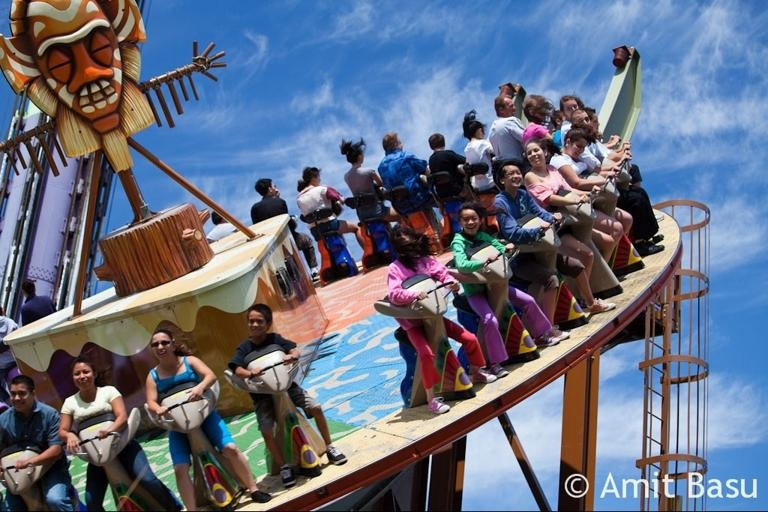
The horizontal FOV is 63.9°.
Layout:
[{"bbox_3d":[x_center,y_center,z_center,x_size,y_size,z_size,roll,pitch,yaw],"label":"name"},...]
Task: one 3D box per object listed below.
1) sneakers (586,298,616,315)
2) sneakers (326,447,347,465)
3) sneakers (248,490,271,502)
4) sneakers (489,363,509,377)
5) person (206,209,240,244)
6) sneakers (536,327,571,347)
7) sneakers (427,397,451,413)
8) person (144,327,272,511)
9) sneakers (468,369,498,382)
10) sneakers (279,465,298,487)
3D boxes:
[{"bbox_3d":[2.663,0.612,7.697,0.446,0.184,0.147,-7,10,2],"label":"sneakers"},{"bbox_3d":[-0.443,1.829,5.702,0.234,0.152,0.095,-11,-8,34],"label":"sneakers"},{"bbox_3d":[-1.073,2.086,5.383,0.185,0.095,0.105,-6,-6,-3],"label":"sneakers"},{"bbox_3d":[1.222,1.202,6.576,0.101,0.084,0.214,-8,15,-28],"label":"sneakers"},{"bbox_3d":[-3.084,-0.586,11.756,0.545,0.822,1.400,-5,-7,-15],"label":"person"},{"bbox_3d":[1.902,0.908,7.088,0.428,0.176,0.170,-10,1,2],"label":"sneakers"},{"bbox_3d":[0.537,1.472,6.112,0.197,0.148,0.198,-6,-6,-2],"label":"sneakers"},{"bbox_3d":[-1.648,1.430,5.550,0.904,1.604,0.380,-5,-7,-11],"label":"person"},{"bbox_3d":[1.037,1.248,6.546,0.308,0.120,0.111,1,9,17],"label":"sneakers"},{"bbox_3d":[-0.861,1.973,5.534,0.084,0.094,0.241,-10,2,-17],"label":"sneakers"}]
